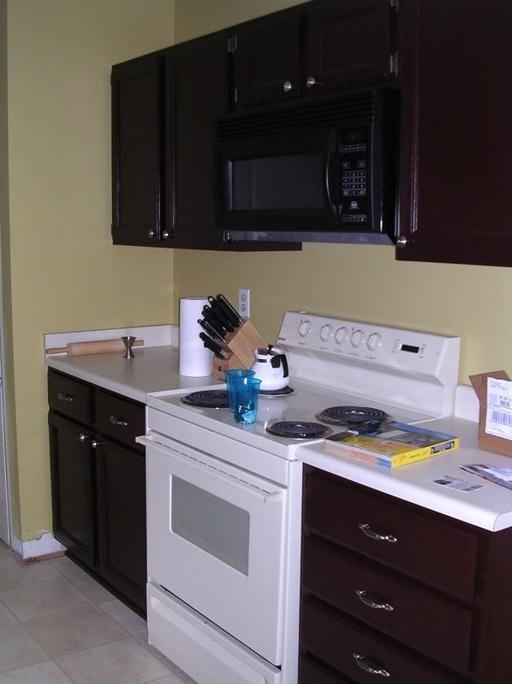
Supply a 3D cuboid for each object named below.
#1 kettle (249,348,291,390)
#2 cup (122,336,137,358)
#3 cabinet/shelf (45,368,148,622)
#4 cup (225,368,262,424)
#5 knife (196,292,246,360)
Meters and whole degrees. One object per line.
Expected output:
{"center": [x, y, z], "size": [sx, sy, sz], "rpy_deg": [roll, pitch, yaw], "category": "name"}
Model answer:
{"center": [0.043, 0.081, 1.796], "size": [0.109, 0.114, 0.117], "rpy_deg": [-1, 7, -12], "category": "kettle"}
{"center": [-0.549, 0.015, 2.507], "size": [0.071, 0.107, 0.081], "rpy_deg": [0, -2, 4], "category": "cup"}
{"center": [-0.590, 0.571, 2.151], "size": [0.359, 0.780, 0.751], "rpy_deg": [-2, 9, -36], "category": "cabinet/shelf"}
{"center": [-0.029, 0.136, 1.495], "size": [0.100, 0.153, 0.137], "rpy_deg": [0, 2, -18], "category": "cup"}
{"center": [-0.116, -0.056, 1.895], "size": [0.132, 0.223, 0.057], "rpy_deg": [11, 33, 35], "category": "knife"}
